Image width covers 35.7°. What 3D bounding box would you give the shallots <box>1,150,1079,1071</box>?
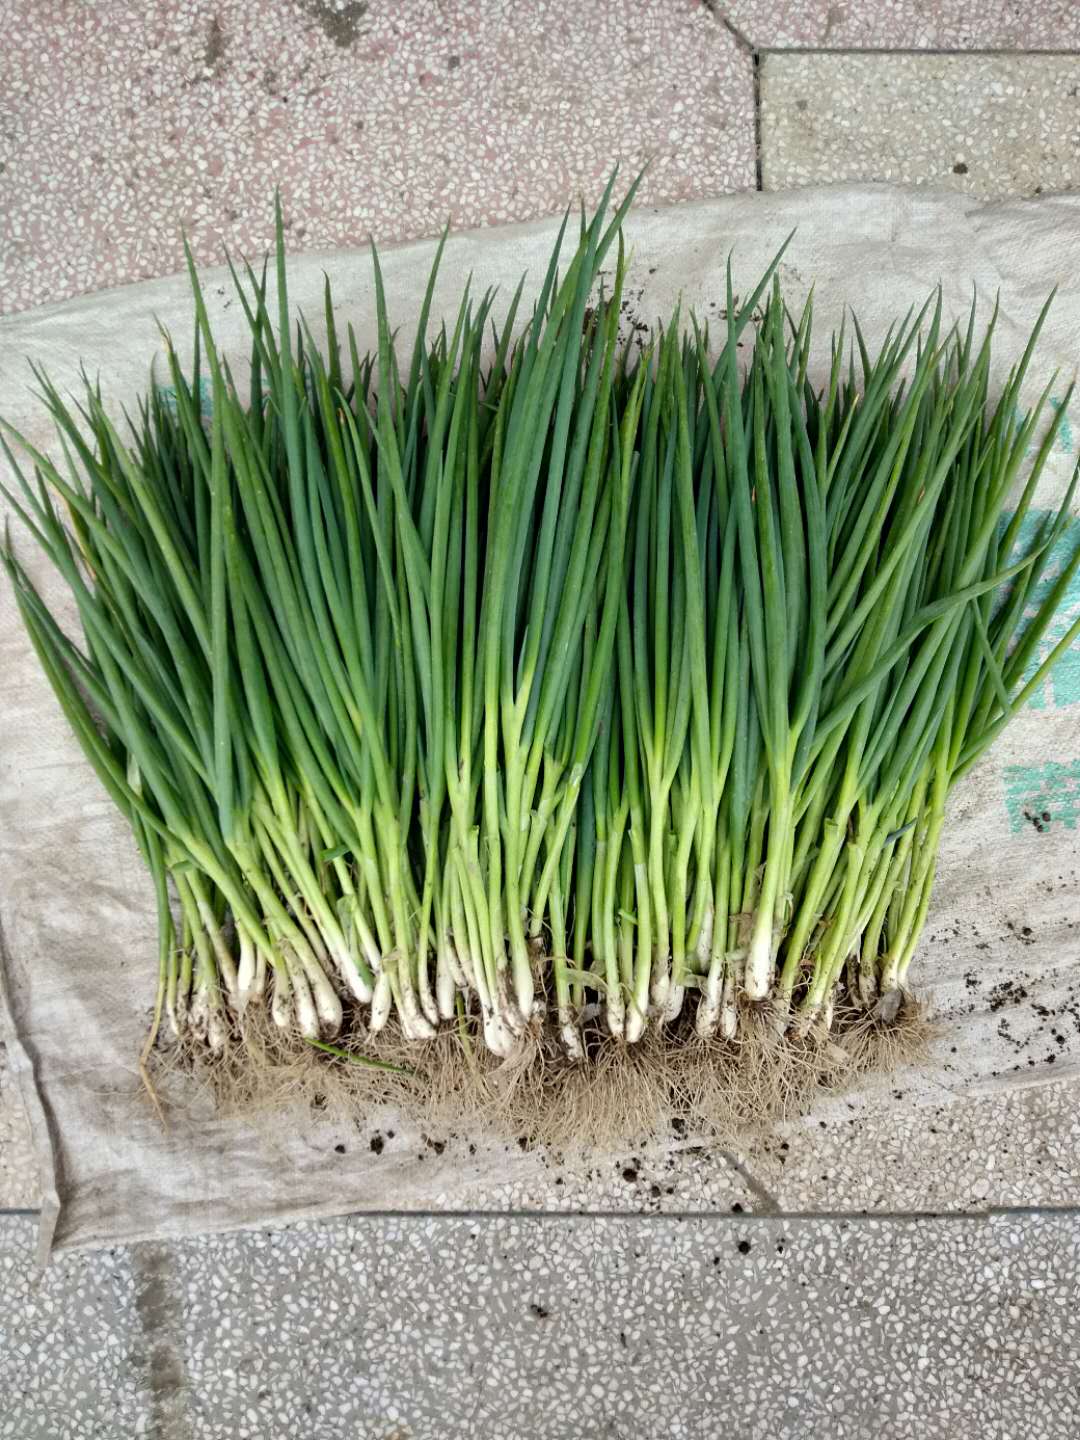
[{"bbox_3d":[0.040,-0.075,2.021,0.971,0.924,0.433,-4,5,1],"label":"shallots"}]
